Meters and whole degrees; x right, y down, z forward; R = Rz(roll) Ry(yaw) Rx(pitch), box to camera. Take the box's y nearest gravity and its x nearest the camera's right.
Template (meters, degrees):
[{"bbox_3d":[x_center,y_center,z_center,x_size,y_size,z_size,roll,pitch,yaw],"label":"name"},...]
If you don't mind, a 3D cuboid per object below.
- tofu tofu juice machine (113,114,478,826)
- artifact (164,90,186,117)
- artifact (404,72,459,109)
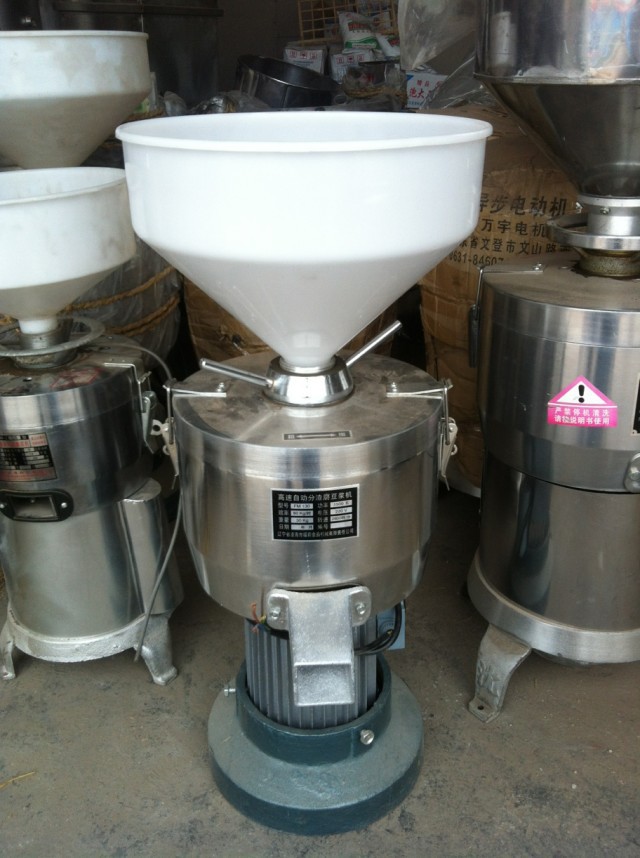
[{"bbox_3d":[0.006,0.143,0.920,0.393,1.047,0.432,-10,23,-13],"label":"tofu tofu juice machine"},{"bbox_3d":[-0.415,-0.920,1.950,0.060,0.070,0.321,-7,23,-9],"label":"artifact"},{"bbox_3d":[0.291,-0.920,1.862,0.107,0.103,0.213,-1,22,7],"label":"artifact"}]
